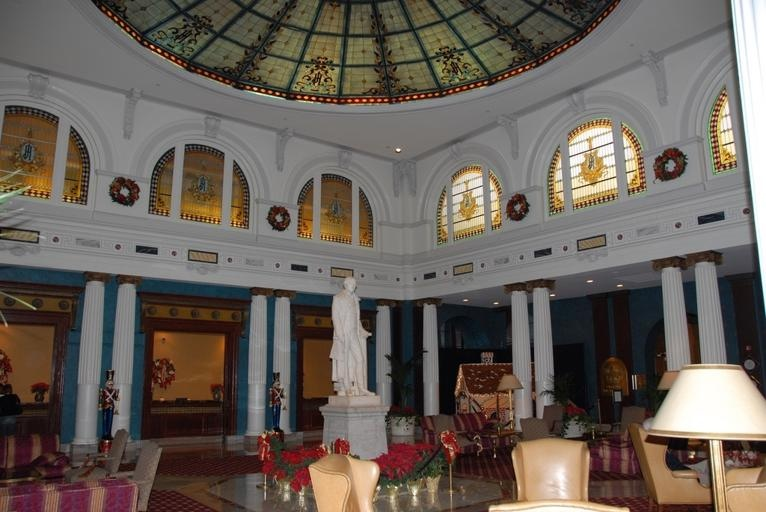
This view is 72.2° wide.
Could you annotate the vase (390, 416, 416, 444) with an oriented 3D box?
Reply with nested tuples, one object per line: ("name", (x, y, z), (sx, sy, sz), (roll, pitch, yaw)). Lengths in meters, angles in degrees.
("vase", (0.642, 5.395, 16.442), (0.726, 0.554, 0.737), (-13, -18, 42))

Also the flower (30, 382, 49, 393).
("flower", (-11.105, 4.219, 17.000), (0.440, 0.304, 0.451), (-5, -10, 41))

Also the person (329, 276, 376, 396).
("person", (-0.696, 1.646, 11.056), (0.782, 2.490, 0.677), (-1, -15, -6))

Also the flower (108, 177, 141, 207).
("flower", (-7.318, -1.826, 14.901), (0.811, 0.817, 0.218), (6, -17, -29))

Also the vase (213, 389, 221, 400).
("vase", (-6.394, 5.294, 20.226), (0.345, 0.492, 0.305), (2, -2, -18))

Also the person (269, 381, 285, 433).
("person", (-3.131, 4.387, 15.559), (0.408, 1.493, 0.749), (-6, -15, 15))

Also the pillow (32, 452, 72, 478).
("pillow", (-5.937, 3.751, 9.416), (0.443, 0.186, 0.511), (8, -18, -37))

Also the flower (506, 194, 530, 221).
("flower", (4.148, -1.511, 16.103), (0.719, 0.904, 0.301), (-11, -17, 27))

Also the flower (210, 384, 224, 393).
("flower", (-6.564, 5.141, 20.675), (0.591, 0.406, 0.534), (2, -5, -32))

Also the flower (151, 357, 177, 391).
("flower", (-8.419, 4.502, 20.259), (0.947, 1.191, 0.464), (9, -19, -37))
